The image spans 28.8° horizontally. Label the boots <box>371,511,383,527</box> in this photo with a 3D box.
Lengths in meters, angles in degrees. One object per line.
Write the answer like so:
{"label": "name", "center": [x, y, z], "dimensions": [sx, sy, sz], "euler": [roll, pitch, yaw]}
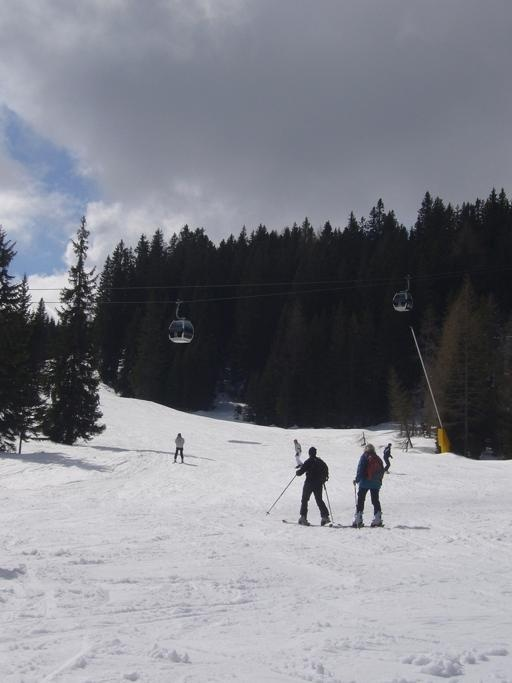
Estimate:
{"label": "boots", "center": [2.148, 3.252, 17.906], "dimensions": [0.148, 0.316, 0.284], "euler": [9, -29, -12]}

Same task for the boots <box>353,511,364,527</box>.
{"label": "boots", "center": [1.822, 3.242, 17.951], "dimensions": [0.142, 0.284, 0.251], "euler": [4, -23, 0]}

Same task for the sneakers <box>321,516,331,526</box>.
{"label": "sneakers", "center": [1.268, 3.302, 18.216], "dimensions": [0.158, 0.137, 0.216], "euler": [-3, 34, 5]}

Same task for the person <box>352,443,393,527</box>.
{"label": "person", "center": [2.109, 2.724, 18.551], "dimensions": [0.586, 1.605, 1.680], "euler": [4, -10, 8]}

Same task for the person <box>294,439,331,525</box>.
{"label": "person", "center": [1.047, 2.730, 18.599], "dimensions": [0.709, 1.468, 1.000], "euler": [6, -9, -2]}

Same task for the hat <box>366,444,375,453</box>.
{"label": "hat", "center": [2.042, 1.929, 17.940], "dimensions": [0.095, 0.183, 0.156], "euler": [-10, 11, 6]}

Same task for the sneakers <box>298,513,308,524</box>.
{"label": "sneakers", "center": [0.845, 3.292, 18.330], "dimensions": [0.093, 0.257, 0.231], "euler": [9, -23, -15]}
